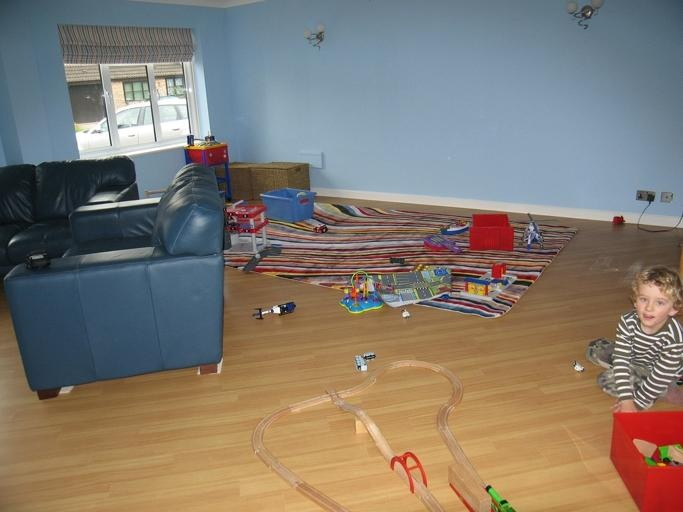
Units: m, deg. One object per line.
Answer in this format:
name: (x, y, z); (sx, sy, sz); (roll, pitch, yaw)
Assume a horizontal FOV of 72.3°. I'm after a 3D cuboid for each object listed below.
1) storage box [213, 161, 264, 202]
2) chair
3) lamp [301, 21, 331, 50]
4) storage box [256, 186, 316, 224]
storage box: (-1.455, -1.069, 6.942); (0.708, 0.436, 0.632); (6, 24, 17)
chair: (-1.385, 0.112, 3.130); (1.182, 1.213, 1.054); (-3, 18, -13)
lamp: (-0.346, -2.980, 6.310); (0.179, 0.270, 0.277); (4, -23, -33)
storage box: (-0.669, -0.629, 5.703); (0.642, 0.265, 0.482); (5, 16, 29)
